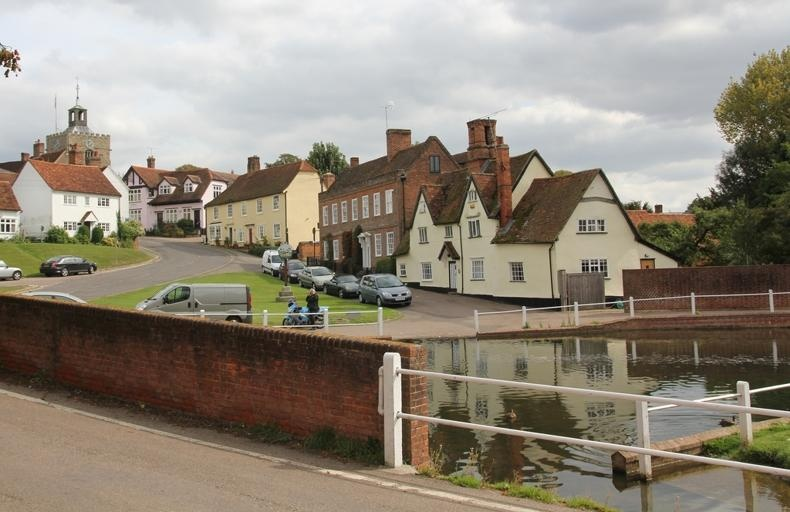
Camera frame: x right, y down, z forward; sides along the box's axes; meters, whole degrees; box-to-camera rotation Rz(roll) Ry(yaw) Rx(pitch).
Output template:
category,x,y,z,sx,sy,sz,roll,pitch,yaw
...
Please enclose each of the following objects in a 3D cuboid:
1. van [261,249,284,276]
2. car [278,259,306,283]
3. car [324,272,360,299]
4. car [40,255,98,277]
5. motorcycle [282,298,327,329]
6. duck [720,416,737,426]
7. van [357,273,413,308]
category,x,y,z,sx,sy,sz,roll,pitch,yaw
van,-8.869,0.523,75.368,1.504,1.403,2.946,0,-1,-24
car,-7.333,1.084,72.505,1.423,1.082,2.367,-2,-1,-22
car,-3.362,2.037,65.259,1.450,1.319,3.401,-2,7,-21
car,-23.309,0.685,72.040,1.486,1.011,3.348,3,5,44
motorcycle,-4.158,2.868,48.290,2.496,1.430,1.178,3,-10,-9
duck,12.615,6.322,38.562,0.488,0.151,0.356,-8,5,-40
van,-0.801,2.090,61.848,1.738,1.213,2.939,0,-3,-27
